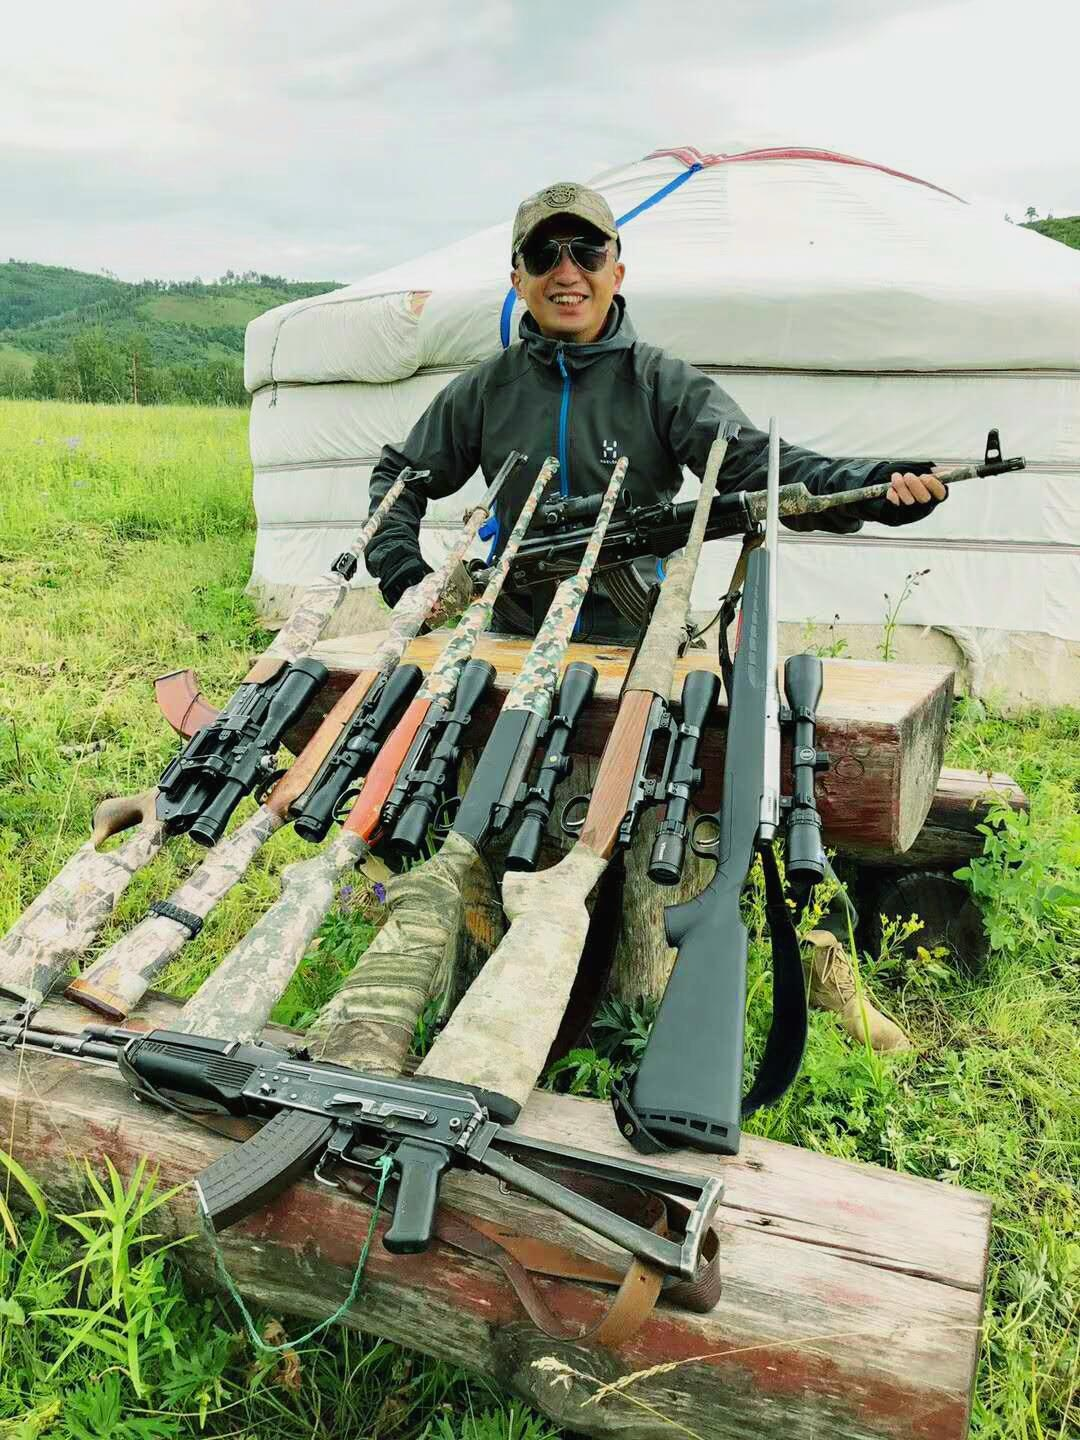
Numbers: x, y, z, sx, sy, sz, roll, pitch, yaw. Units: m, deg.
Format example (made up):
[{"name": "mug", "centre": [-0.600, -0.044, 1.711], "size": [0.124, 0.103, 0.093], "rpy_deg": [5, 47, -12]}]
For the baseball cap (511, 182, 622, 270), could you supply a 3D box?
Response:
[{"name": "baseball cap", "centre": [0.081, -1.831, 4.028], "size": [0.375, 0.254, 0.287], "rpy_deg": [0, 13, -2]}]

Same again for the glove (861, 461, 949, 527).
[{"name": "glove", "centre": [1.085, -0.678, 3.318], "size": [0.245, 0.174, 0.067], "rpy_deg": [-5, -17, 8]}]

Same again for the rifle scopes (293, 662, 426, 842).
[{"name": "rifle scopes", "centre": [-0.504, 0.081, 3.161], "size": [0.195, 0.194, 0.713], "rpy_deg": [-6, 39, 35]}]

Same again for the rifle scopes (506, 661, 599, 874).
[{"name": "rifle scopes", "centre": [0.078, 0.099, 2.869], "size": [0.137, 0.139, 0.786], "rpy_deg": [15, 47, 2]}]

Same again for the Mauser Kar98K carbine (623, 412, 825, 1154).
[{"name": "Mauser Kar98K carbine", "centre": [0.493, 0.104, 2.457], "size": [0.325, 0.181, 1.664], "rpy_deg": [3, 54, 21]}]
